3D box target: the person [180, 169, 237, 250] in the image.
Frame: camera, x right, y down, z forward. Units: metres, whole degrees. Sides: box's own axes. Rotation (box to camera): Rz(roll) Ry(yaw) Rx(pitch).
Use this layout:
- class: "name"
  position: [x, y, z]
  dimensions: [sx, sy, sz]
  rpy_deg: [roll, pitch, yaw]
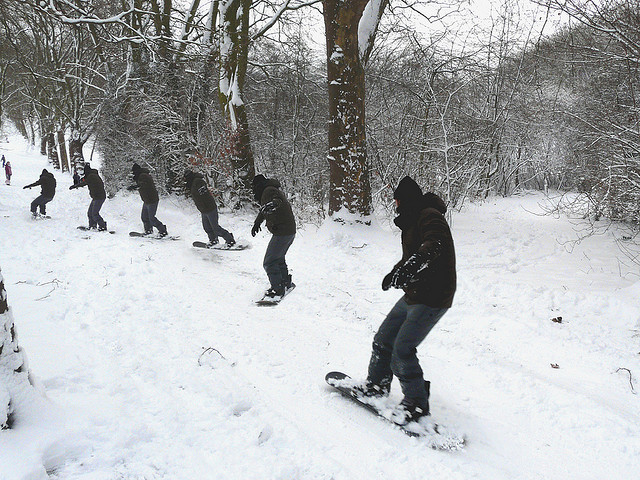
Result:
- class: "person"
  position: [-2.654, -0.693, 12.163]
  dimensions: [1.117, 1.856, 0.590]
  rpy_deg: [0, 13, 2]

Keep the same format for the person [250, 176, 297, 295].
- class: "person"
  position: [-0.841, -0.055, 9.507]
  dimensions: [0.774, 2.229, 0.777]
  rpy_deg: [-2, 13, -4]

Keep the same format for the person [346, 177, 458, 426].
- class: "person"
  position: [1.230, 0.821, 6.978]
  dimensions: [1.225, 3.264, 0.956]
  rpy_deg: [0, 13, 5]

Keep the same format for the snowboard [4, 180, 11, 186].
- class: "snowboard"
  position: [-15.455, -2.829, 25.189]
  dimensions: [0.205, 0.104, 0.279]
  rpy_deg: [13, 1, -2]

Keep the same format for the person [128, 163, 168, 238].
- class: "person"
  position: [-4.403, -1.010, 13.179]
  dimensions: [0.691, 1.901, 0.823]
  rpy_deg: [-6, 14, -21]

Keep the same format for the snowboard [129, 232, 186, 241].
- class: "snowboard"
  position: [-4.263, -0.088, 13.393]
  dimensions: [1.409, 0.224, 0.525]
  rpy_deg: [-4, 13, -14]

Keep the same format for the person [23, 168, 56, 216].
- class: "person"
  position: [-8.664, -1.478, 15.821]
  dimensions: [0.796, 1.455, 0.977]
  rpy_deg: [-12, 17, -40]

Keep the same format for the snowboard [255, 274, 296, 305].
- class: "snowboard"
  position: [-0.840, 0.933, 9.697]
  dimensions: [0.371, 0.382, 0.932]
  rpy_deg: [4, 14, 22]
